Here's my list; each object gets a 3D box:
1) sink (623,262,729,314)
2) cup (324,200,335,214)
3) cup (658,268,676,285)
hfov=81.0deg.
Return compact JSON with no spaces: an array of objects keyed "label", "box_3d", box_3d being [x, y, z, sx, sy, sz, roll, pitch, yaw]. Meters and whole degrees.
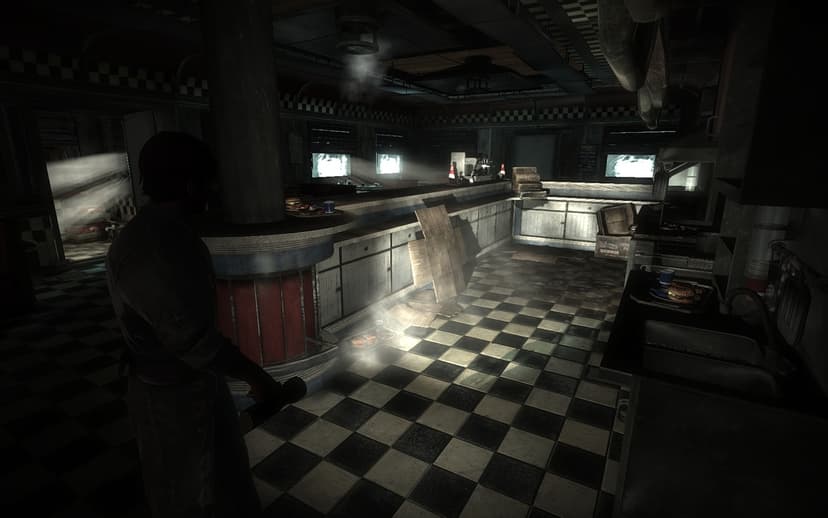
[{"label":"sink","box_3d":[2.574,0.346,4.861,0.516,0.160,0.756,10,19,36]},{"label":"cup","box_3d":[-1.004,-0.633,5.869,0.171,0.154,0.163,0,9,0]},{"label":"cup","box_3d":[2.633,0.192,5.054,0.200,0.159,0.160,-5,14,-8]}]
